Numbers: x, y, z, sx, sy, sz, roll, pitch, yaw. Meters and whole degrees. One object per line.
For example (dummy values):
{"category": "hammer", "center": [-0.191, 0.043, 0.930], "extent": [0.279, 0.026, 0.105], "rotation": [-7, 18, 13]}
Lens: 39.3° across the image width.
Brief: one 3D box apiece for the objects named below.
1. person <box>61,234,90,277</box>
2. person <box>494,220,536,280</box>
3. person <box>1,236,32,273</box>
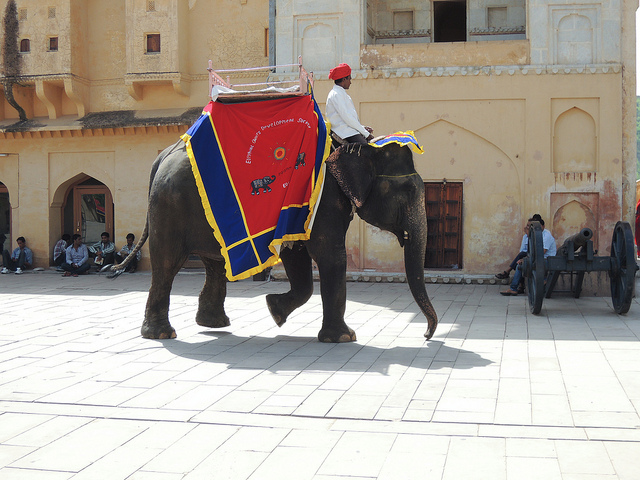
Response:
{"category": "person", "center": [-5.144, 0.322, 18.953], "extent": [0.650, 0.796, 0.663], "rotation": [7, 17, 37]}
{"category": "person", "center": [3.253, 0.274, 15.444], "extent": [0.564, 1.232, 2.006], "rotation": [1, 15, 11]}
{"category": "person", "center": [-6.661, 0.322, 19.502], "extent": [0.628, 0.680, 0.741], "rotation": [-1, 15, 5]}
